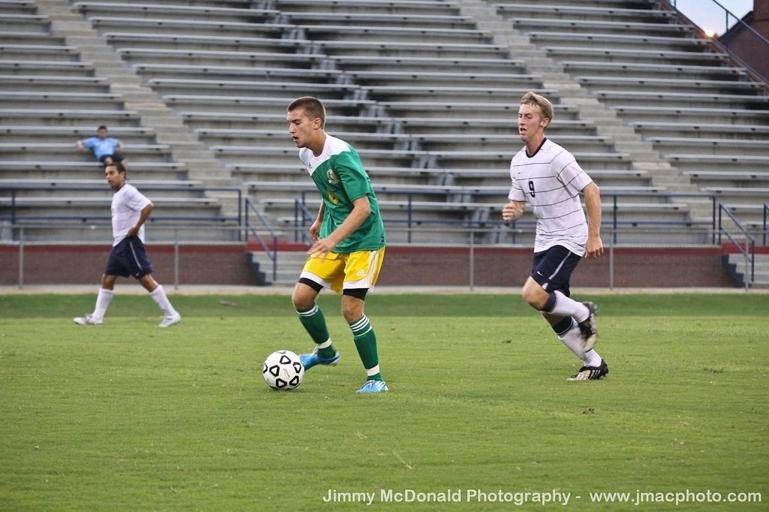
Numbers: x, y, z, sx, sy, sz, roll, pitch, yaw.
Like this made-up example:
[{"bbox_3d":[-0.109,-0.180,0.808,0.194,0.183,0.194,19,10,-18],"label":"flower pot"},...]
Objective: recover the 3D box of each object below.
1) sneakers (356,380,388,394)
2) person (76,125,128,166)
[{"bbox_3d":[-0.181,2.272,27.912,0.438,0.163,0.230,1,-6,-13],"label":"sneakers"},{"bbox_3d":[-7.218,-2.691,38.990,1.436,0.888,1.127,-1,15,27],"label":"person"}]
